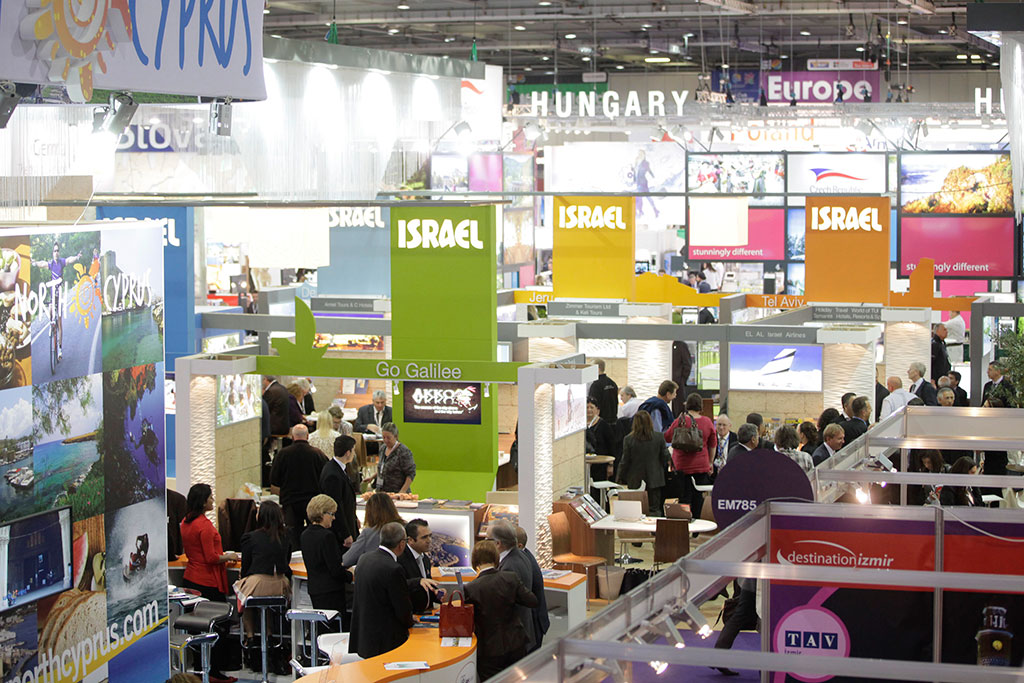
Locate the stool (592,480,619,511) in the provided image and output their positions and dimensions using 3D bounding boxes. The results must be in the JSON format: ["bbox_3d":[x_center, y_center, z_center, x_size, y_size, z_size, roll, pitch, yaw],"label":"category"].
[{"bbox_3d":[1.013,1.692,11.754,0.367,0.446,0.332,1,2,7],"label":"stool"}]

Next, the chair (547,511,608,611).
[{"bbox_3d":[0.707,1.986,9.832,0.440,0.957,0.834,3,7,43],"label":"chair"}]

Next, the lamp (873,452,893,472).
[{"bbox_3d":[2.575,0.845,7.331,0.060,0.097,0.129,-5,3,0],"label":"lamp"}]

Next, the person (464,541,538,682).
[{"bbox_3d":[-0.097,1.812,7.037,0.478,0.956,0.360,-2,5,-8],"label":"person"}]

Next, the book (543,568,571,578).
[{"bbox_3d":[0.361,1.950,8.837,0.168,0.043,0.167,0,-1,22],"label":"book"}]

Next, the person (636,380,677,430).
[{"bbox_3d":[1.717,0.771,12.507,0.346,0.855,0.456,-3,10,-14],"label":"person"}]

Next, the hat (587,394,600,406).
[{"bbox_3d":[0.922,0.675,12.132,0.133,0.175,0.172,0,-10,4],"label":"hat"}]

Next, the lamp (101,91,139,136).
[{"bbox_3d":[-2.203,-1.280,5.979,0.175,0.232,0.240,-3,6,-22],"label":"lamp"}]

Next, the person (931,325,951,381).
[{"bbox_3d":[6.242,0.189,15.428,0.265,0.786,0.989,1,6,21],"label":"person"}]

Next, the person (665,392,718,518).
[{"bbox_3d":[1.893,1.279,11.257,0.538,1.459,0.426,-1,16,1],"label":"person"}]

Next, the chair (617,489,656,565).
[{"bbox_3d":[1.252,1.741,10.307,0.469,0.973,0.622,0,-3,11],"label":"chair"}]

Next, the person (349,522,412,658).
[{"bbox_3d":[-0.874,1.655,6.928,0.412,0.860,0.312,-2,5,-8],"label":"person"}]

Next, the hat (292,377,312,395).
[{"bbox_3d":[-2.529,0.541,12.740,0.164,0.211,0.219,18,25,36],"label":"hat"}]

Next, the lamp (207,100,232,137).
[{"bbox_3d":[-1.811,-1.392,6.589,0.119,0.216,0.524,-2,6,-14],"label":"lamp"}]

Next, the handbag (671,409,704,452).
[{"bbox_3d":[1.833,0.970,11.059,0.313,0.376,0.289,-3,6,-22],"label":"handbag"}]
